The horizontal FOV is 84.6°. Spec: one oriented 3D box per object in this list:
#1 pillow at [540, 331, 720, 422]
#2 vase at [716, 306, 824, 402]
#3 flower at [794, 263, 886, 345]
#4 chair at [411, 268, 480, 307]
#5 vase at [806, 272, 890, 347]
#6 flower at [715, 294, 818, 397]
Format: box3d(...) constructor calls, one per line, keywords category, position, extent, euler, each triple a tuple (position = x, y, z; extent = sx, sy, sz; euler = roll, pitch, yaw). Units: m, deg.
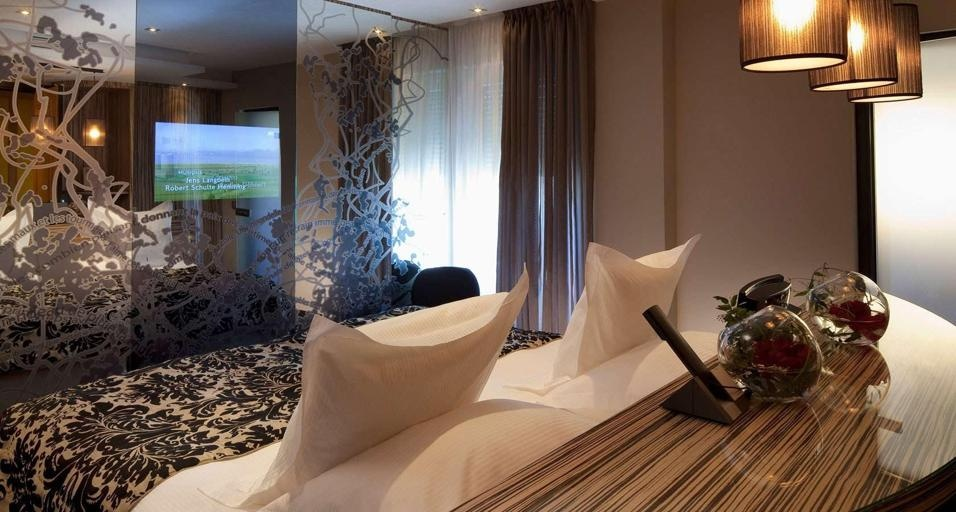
box3d(category="pillow", position=(0.718, 0.662, 2.828), extent=(0.723, 0.241, 0.369), euler=(-7, 11, -14))
box3d(category="vase", position=(1.358, 0.471, 2.313), extent=(0.330, 0.267, 0.349), euler=(-41, 24, 0))
box3d(category="flower", position=(1.858, 0.230, 2.780), extent=(0.326, 0.299, 0.408), euler=(-20, -1, 4))
box3d(category="chair", position=(-0.328, 0.285, 5.043), extent=(0.430, 0.543, 0.437), euler=(2, -8, 8))
box3d(category="vase", position=(1.968, 0.333, 2.751), extent=(0.419, 0.364, 0.465), euler=(-5, -5, 38))
box3d(category="flower", position=(1.204, 0.427, 2.390), extent=(0.342, 0.294, 0.378), euler=(-34, -5, -17))
